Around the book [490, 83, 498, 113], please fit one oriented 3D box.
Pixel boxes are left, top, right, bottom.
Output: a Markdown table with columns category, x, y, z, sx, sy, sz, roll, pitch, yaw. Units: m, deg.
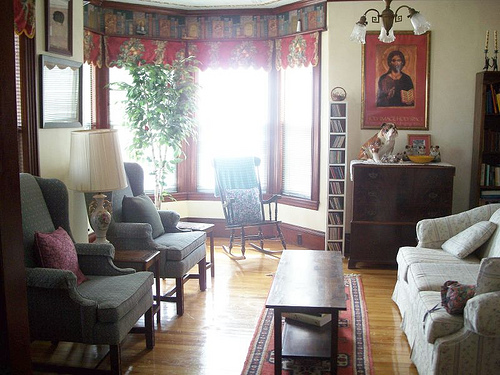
| category | x | y | z | sx | sy | sz | roll | pitch | yaw |
| --- | --- | --- | --- | --- | --- | --- | --- | --- | --- |
| book | 2.873 | -1.044 | 4.962 | 0.063 | 0.342 | 0.117 | -2 | 9 | -11 |

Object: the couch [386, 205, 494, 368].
| category | x | y | z | sx | sy | sz | roll | pitch | yaw |
| --- | --- | --- | --- | --- | --- | --- | --- | --- | --- |
| couch | 1.493 | 0.768 | 3.284 | 0.396 | 0.538 | 1.061 | 2 | 6 | 18 |

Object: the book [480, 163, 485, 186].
| category | x | y | z | sx | sy | sz | roll | pitch | yaw |
| --- | --- | --- | --- | --- | --- | --- | --- | --- | --- |
| book | 2.774 | -0.142 | 5.020 | 0.043 | 0.195 | 0.183 | -1 | 1 | 24 |

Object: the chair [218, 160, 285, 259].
| category | x | y | z | sx | sy | sz | roll | pitch | yaw |
| --- | --- | --- | --- | --- | --- | --- | --- | --- | --- |
| chair | 0.016 | 0.273 | 5.783 | 0.844 | 1.271 | 1.147 | 1 | 9 | 7 |

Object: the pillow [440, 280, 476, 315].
| category | x | y | z | sx | sy | sz | roll | pitch | yaw |
| --- | --- | --- | --- | --- | --- | --- | --- | --- | --- |
| pillow | 1.353 | 0.686 | 2.728 | 0.226 | 0.136 | 0.241 | -8 | -1 | 27 |

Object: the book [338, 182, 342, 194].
| category | x | y | z | sx | sy | sz | roll | pitch | yaw |
| --- | --- | --- | --- | --- | --- | --- | --- | --- | --- |
| book | 1.132 | 0.016 | 5.308 | 0.046 | 0.146 | 0.018 | 0 | 9 | 1 |

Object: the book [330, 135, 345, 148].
| category | x | y | z | sx | sy | sz | roll | pitch | yaw |
| --- | --- | --- | --- | --- | --- | --- | --- | --- | --- |
| book | 1.074 | -0.560 | 5.223 | 0.151 | 0.154 | 0.045 | 0 | 6 | 4 |

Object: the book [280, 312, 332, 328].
| category | x | y | z | sx | sy | sz | roll | pitch | yaw |
| --- | --- | --- | --- | --- | --- | --- | --- | --- | --- |
| book | 0.453 | 1.021 | 3.317 | 0.353 | 0.100 | 0.163 | 1 | 9 | 7 |

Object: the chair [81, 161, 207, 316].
| category | x | y | z | sx | sy | sz | roll | pitch | yaw |
| --- | --- | --- | --- | --- | --- | --- | --- | --- | --- |
| chair | -1.134 | 0.438 | 4.686 | 1.345 | 1.903 | 1.254 | 0 | 3 | 13 |
